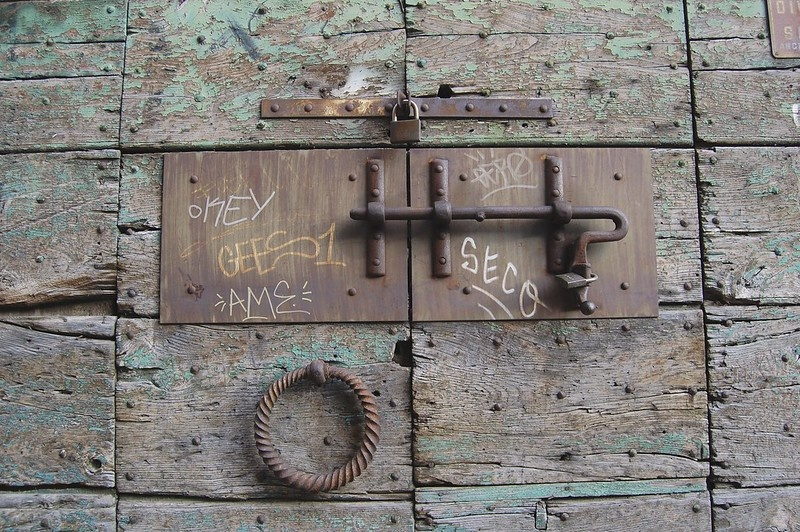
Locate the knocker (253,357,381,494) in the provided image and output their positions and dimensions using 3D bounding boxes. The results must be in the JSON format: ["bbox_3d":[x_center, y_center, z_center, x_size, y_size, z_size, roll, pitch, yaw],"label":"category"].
[{"bbox_3d":[-0.314,0.634,3.821,0.637,0.114,0.522,1,83,0],"label":"knocker"}]
